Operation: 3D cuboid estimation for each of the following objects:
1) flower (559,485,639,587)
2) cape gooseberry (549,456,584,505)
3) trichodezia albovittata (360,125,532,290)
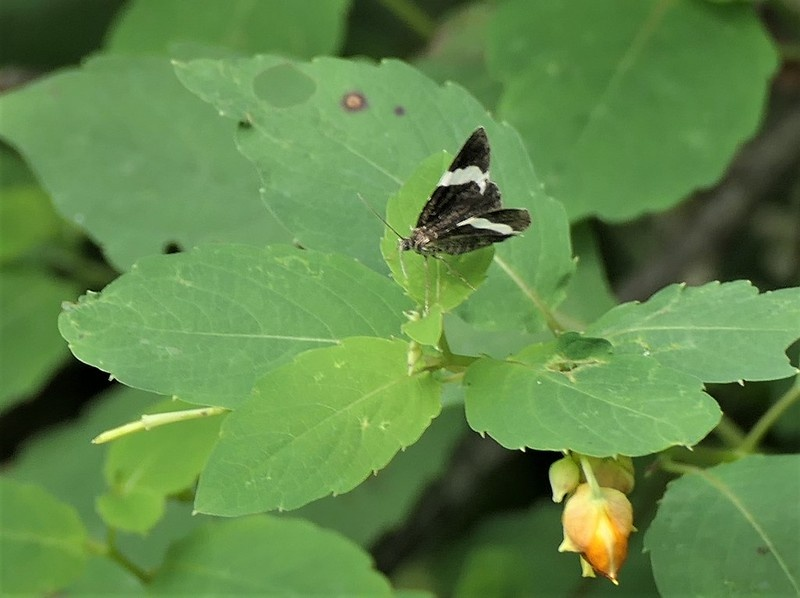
[{"bbox_3d":[0.384,0.444,1.500,0.147,0.071,0.191,-16,82,4],"label":"flower"},{"bbox_3d":[0.344,0.369,1.577,0.079,0.051,0.094,-2,49,34],"label":"cape gooseberry"},{"bbox_3d":[0.107,-0.212,1.770,0.325,0.184,0.249,-24,68,-20],"label":"trichodezia albovittata"}]
